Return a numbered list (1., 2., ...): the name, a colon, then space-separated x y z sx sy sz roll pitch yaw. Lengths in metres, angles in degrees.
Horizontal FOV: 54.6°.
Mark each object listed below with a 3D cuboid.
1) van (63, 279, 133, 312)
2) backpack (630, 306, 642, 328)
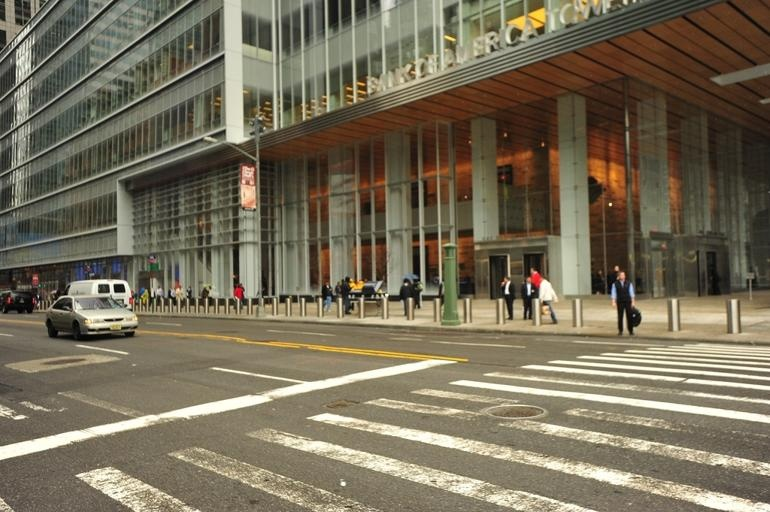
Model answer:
1. van: -14.450 2.020 37.703 2.296 1.895 5.017 0 -4 13
2. backpack: 10.003 2.403 29.708 0.291 0.747 0.406 -4 -5 30
